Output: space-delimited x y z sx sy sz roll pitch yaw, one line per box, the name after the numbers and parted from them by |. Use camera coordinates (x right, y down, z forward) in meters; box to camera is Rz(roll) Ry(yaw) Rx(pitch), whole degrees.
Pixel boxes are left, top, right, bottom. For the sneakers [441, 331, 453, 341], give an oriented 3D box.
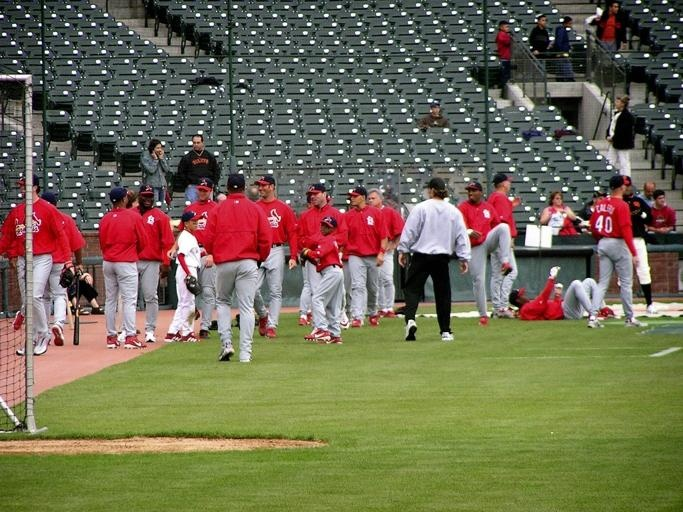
1.884 1.516 28.586 0.161 0.165 0.368 -1 -4 5 | sneakers

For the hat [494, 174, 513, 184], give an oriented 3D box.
3.168 -1.468 31.577 0.283 0.211 0.324 -2 -2 3 | hat

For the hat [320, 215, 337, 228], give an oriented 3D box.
-0.259 -0.553 28.896 0.272 0.203 0.304 -2 -2 0 | hat

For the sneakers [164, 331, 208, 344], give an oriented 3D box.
-2.992 1.583 29.324 0.663 0.289 0.228 -1 4 -8 | sneakers

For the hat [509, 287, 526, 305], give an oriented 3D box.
3.489 0.884 31.746 0.332 0.320 0.251 21 -5 -40 | hat

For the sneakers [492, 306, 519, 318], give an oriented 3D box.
3.302 1.216 31.874 0.526 0.215 0.186 -1 9 4 | sneakers

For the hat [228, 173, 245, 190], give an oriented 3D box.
-1.832 -1.261 26.835 0.216 0.182 0.305 0 38 -6 | hat

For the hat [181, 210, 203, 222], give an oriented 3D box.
-2.783 -0.667 28.667 0.303 0.151 0.192 -6 6 -2 | hat

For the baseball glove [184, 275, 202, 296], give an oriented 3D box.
-2.703 0.586 28.126 0.263 0.195 0.264 36 -9 42 | baseball glove

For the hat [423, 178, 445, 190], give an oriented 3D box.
1.691 -1.274 28.933 0.237 0.179 0.318 -1 10 -30 | hat

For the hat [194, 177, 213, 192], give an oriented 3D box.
-2.539 -1.252 28.899 0.248 0.193 0.343 12 7 -1 | hat

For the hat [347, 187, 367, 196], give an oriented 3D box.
0.291 -1.194 30.565 0.330 0.202 0.503 -2 -2 -1 | hat

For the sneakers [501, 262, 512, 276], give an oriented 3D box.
3.215 0.317 30.982 0.251 0.276 0.665 0 1 1 | sneakers

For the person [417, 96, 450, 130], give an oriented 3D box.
2.331 -3.466 40.282 0.765 0.761 1.016 -3 -2 12 | person

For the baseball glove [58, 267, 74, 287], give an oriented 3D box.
-4.919 0.456 27.996 0.259 0.334 0.306 4 -12 -15 | baseball glove

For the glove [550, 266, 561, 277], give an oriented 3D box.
4.318 0.376 32.040 0.151 0.095 0.209 7 17 13 | glove

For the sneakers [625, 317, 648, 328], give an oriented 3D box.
5.608 1.321 29.693 0.513 0.212 0.194 1 1 -7 | sneakers

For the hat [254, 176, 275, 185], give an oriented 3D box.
-1.438 -1.358 29.267 0.271 0.144 0.194 6 -6 -31 | hat

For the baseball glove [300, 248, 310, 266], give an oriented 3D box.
-0.722 0.091 28.969 0.107 0.280 0.206 -5 -4 1 | baseball glove
